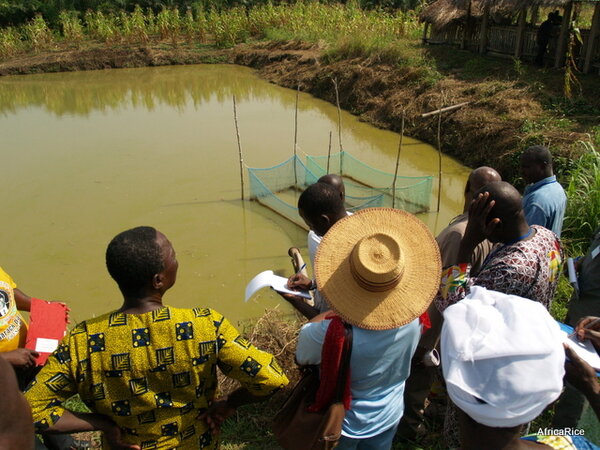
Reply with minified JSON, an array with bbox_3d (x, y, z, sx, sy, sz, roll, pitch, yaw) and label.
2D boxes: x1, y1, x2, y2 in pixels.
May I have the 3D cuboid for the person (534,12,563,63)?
[{"bbox_3d":[6.045,-4.648,14.161,0.856,1.269,0.474,-20,29,-35],"label":"person"}]

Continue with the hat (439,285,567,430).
[{"bbox_3d":[1.452,0.946,4.206,0.827,1.010,0.481,15,-10,16],"label":"hat"}]
